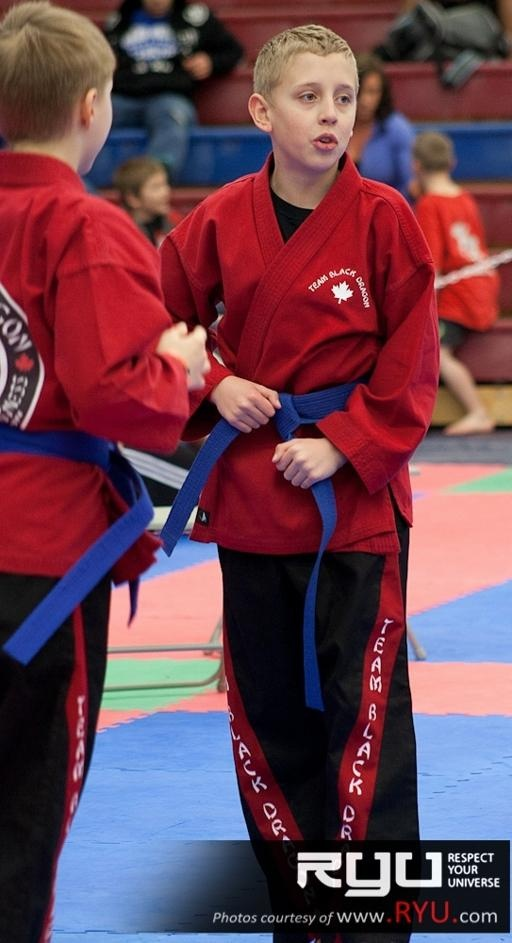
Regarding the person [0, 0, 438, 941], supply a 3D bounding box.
[{"bbox_3d":[0.115,-0.005,1.434,0.467,1.287,0.732,-9,30,-5],"label":"person"}]
